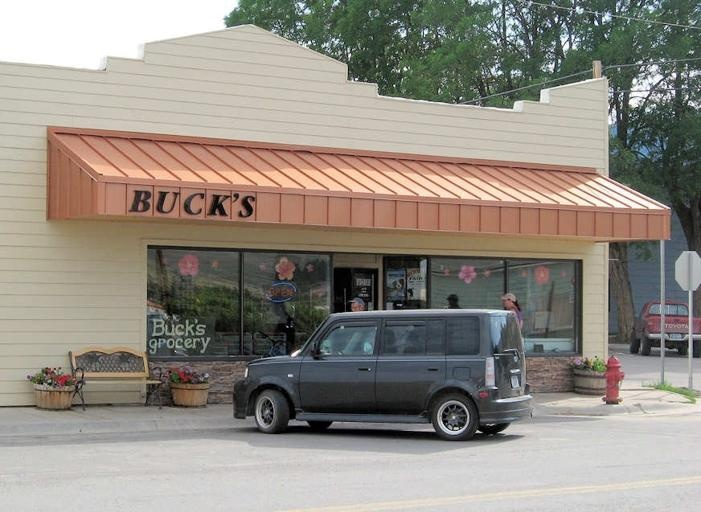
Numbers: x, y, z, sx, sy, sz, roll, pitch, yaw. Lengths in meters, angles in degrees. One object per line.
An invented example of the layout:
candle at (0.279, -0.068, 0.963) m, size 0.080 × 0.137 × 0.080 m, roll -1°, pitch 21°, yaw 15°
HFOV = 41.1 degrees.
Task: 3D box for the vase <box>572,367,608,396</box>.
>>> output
vase at (6.000, 3.146, 23.599) m, size 0.751 × 0.445 × 0.734 m, roll -1°, pitch -6°, yaw 28°

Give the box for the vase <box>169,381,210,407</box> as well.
vase at (-3.449, 2.979, 20.181) m, size 0.603 × 0.291 × 0.598 m, roll -2°, pitch -6°, yaw 20°

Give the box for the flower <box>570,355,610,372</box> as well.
flower at (6.077, 2.751, 23.771) m, size 0.512 × 0.281 × 0.544 m, roll 5°, pitch -8°, yaw -37°

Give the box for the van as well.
van at (0.695, 2.200, 17.653) m, size 4.529 × 1.771 × 2.353 m, roll 1°, pitch -5°, yaw 16°

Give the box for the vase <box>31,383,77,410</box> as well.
vase at (-6.105, 2.908, 19.301) m, size 0.620 × 0.343 × 0.625 m, roll -4°, pitch -8°, yaw 34°

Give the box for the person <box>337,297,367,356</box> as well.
person at (0.045, 1.375, 17.975) m, size 0.912 × 1.033 × 0.362 m, roll -1°, pitch -21°, yaw 17°

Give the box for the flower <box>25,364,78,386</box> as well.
flower at (-6.103, 2.518, 19.353) m, size 0.582 × 0.237 × 0.560 m, roll -1°, pitch -3°, yaw 29°

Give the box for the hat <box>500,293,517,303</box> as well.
hat at (3.521, 0.915, 20.681) m, size 0.360 × 0.177 × 0.248 m, roll 8°, pitch -4°, yaw 1°

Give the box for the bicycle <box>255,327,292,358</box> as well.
bicycle at (-1.798, 2.053, 21.774) m, size 0.791 × 0.482 × 0.496 m, roll 4°, pitch -7°, yaw -40°

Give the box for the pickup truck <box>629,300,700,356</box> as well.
pickup truck at (12.785, 2.925, 38.243) m, size 1.791 × 1.448 × 3.224 m, roll 1°, pitch 1°, yaw -8°
